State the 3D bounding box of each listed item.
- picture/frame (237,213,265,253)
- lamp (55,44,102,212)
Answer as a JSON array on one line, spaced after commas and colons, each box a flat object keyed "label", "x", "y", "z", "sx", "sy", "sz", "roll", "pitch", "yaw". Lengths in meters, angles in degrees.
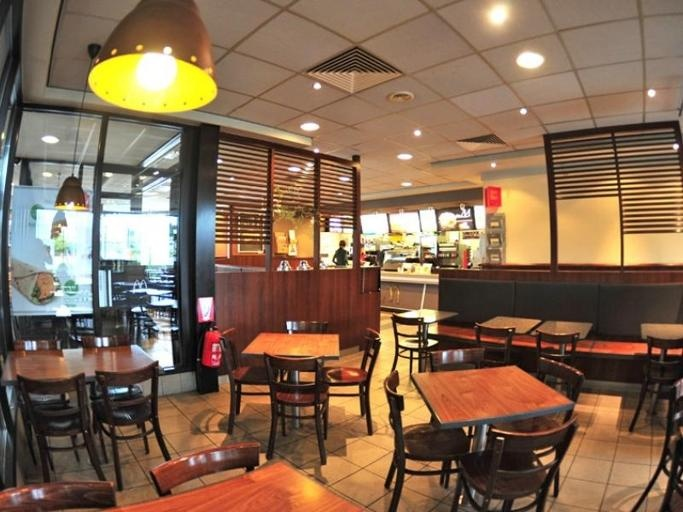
[{"label": "picture/frame", "x": -1.353, "y": -0.347, "z": 7.531, "sx": 0.628, "sy": 0.535, "sz": 0.130, "roll": -5, "pitch": 3, "yaw": -45}, {"label": "lamp", "x": -2.790, "y": -1.356, "z": 5.370, "sx": 0.350, "sy": 1.700, "sz": 0.330, "roll": 11, "pitch": 15, "yaw": -20}]
